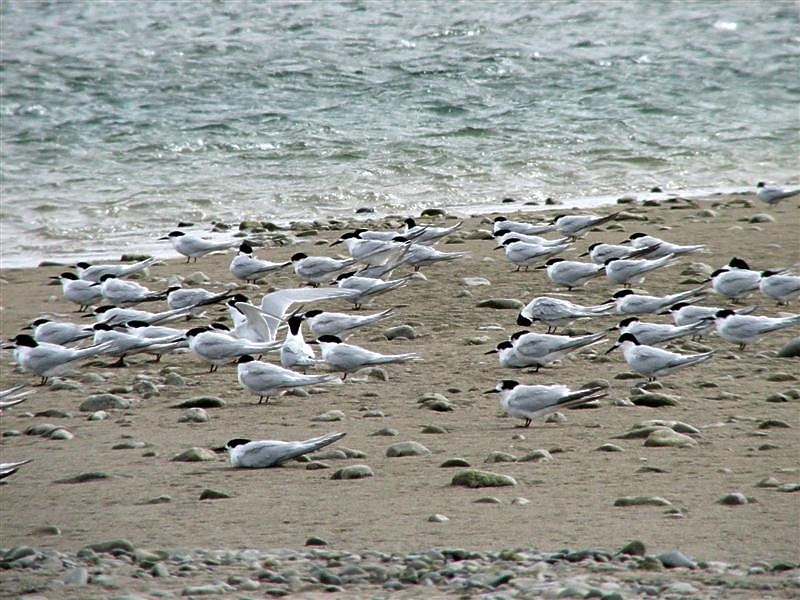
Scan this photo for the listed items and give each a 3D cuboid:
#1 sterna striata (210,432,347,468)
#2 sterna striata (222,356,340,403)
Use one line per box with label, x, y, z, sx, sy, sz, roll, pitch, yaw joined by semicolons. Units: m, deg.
sterna striata;-1.428;1.683;14.858;1.280;0.522;0.368;0;33;1
sterna striata;-1.540;1.045;16.434;1.369;0.624;0.584;4;30;11
